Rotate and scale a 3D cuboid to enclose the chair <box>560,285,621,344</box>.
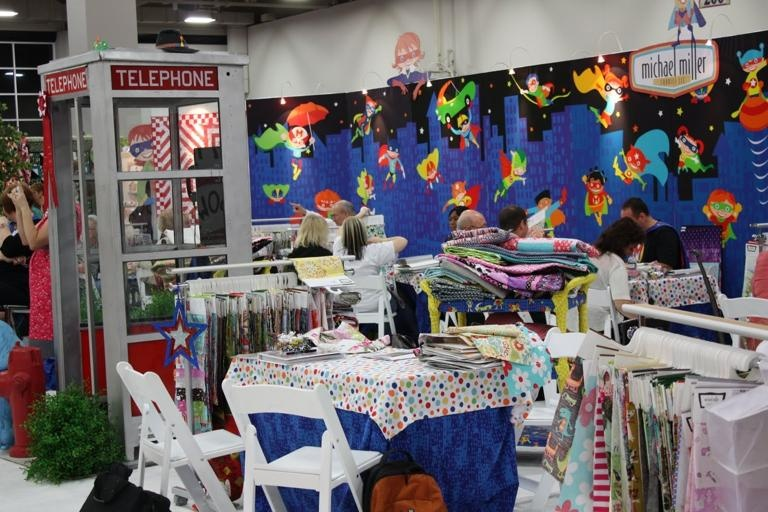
[{"bbox_3d":[1.843,0.506,6.486,0.409,0.400,0.309,-9,15,23],"label":"chair"}]
